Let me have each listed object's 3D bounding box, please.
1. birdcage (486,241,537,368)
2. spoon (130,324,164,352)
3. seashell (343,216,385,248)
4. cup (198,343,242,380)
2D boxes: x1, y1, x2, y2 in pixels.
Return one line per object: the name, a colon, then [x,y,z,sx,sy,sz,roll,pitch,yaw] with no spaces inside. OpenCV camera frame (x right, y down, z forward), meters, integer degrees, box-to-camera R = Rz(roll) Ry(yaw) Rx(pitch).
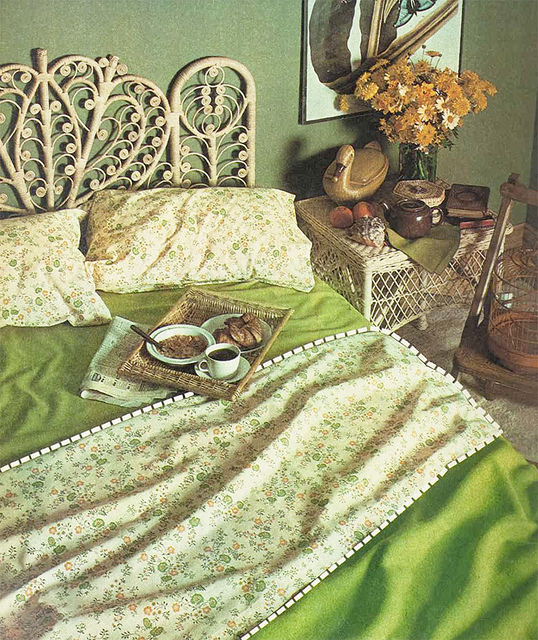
birdcage: [0.862,-0.045,2.192,0.247,0.456,0.231,5,36,14]
spoon: [-0.328,0.051,1.639,0.014,0.105,0.012,-48,14,14]
seashell: [0.362,-0.323,2.238,0.142,0.053,0.097,8,57,32]
cup: [-0.119,0.103,1.515,0.114,0.072,0.079,-14,45,-14]
